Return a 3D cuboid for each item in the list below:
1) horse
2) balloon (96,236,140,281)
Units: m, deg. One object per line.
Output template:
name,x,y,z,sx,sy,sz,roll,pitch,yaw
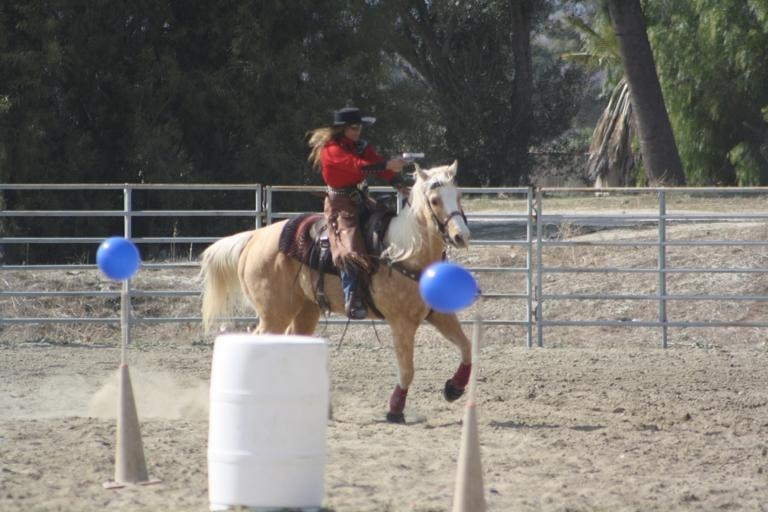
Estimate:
horse,-0.859,0.959,32.937,6.778,5.354,2.197,-1,13,32
balloon,-5.073,0.067,30.900,0.948,0.599,0.993,1,-10,4
